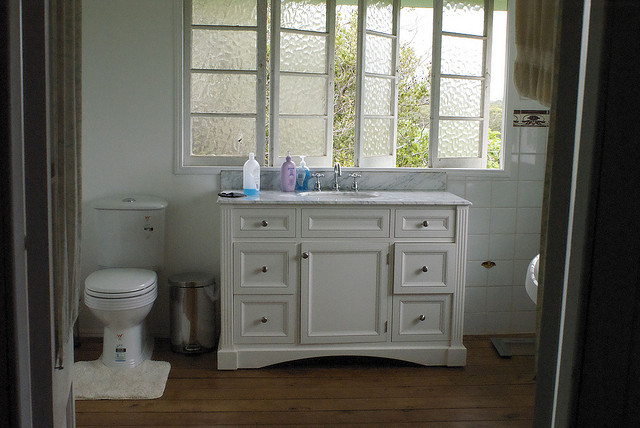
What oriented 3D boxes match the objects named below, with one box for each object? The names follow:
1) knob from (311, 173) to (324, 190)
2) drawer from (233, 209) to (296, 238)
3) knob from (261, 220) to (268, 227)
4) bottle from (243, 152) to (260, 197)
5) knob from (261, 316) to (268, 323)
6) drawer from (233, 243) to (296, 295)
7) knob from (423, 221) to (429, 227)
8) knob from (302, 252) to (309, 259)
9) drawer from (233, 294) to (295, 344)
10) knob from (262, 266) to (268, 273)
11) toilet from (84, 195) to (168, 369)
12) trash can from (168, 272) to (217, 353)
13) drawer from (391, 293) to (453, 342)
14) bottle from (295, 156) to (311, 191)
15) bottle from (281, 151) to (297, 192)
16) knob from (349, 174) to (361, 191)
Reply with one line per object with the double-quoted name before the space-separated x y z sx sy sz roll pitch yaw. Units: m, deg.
"knob" -0.023 -0.206 3.368 0.106 0.119 0.049 1 13 3
"drawer" -0.309 0.044 2.881 0.251 0.109 0.178 0 4 -5
"knob" -0.298 0.051 2.884 0.033 0.031 0.011 -2 13 -17
"bottle" -0.397 -0.229 3.119 0.088 0.219 0.192 0 12 -8
"knob" -0.307 0.569 2.942 0.031 0.028 0.019 6 -16 -2
"drawer" -0.258 0.298 2.989 0.397 0.294 0.212 -2 -6 24
"knob" 0.569 0.052 2.939 0.023 0.016 0.023 7 12 35
"knob" -0.081 0.221 2.899 0.030 0.031 0.008 -2 13 -17
"drawer" -0.289 0.516 3.076 0.418 0.348 0.263 0 3 -3
"knob" -0.298 0.295 2.898 0.025 0.025 0.017 6 21 10
"toilet" -1.085 0.367 3.097 0.427 0.892 0.558 -2 13 -15
"trash can" -0.725 0.605 3.276 0.336 0.415 0.348 0 0 -36
"drawer" 0.549 0.561 3.008 0.300 0.249 0.152 0 3 -2
"bottle" -0.107 -0.251 3.361 0.092 0.194 0.176 1 12 0
"bottle" -0.186 -0.243 3.257 0.097 0.214 0.067 -1 13 -10
"knob" 0.213 -0.194 3.372 0.071 0.100 0.093 2 12 2
